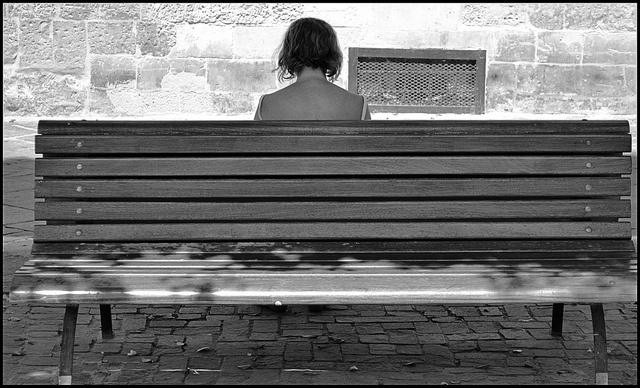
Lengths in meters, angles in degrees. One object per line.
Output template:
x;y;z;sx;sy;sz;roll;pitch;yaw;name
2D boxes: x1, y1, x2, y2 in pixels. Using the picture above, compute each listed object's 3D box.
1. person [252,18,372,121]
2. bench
-0.007;-0.852;5.963;0.765;0.663;0.428;4;23;1;person
0.072;0.266;5.446;3.763;1.503;0.691;2;24;-2;bench
